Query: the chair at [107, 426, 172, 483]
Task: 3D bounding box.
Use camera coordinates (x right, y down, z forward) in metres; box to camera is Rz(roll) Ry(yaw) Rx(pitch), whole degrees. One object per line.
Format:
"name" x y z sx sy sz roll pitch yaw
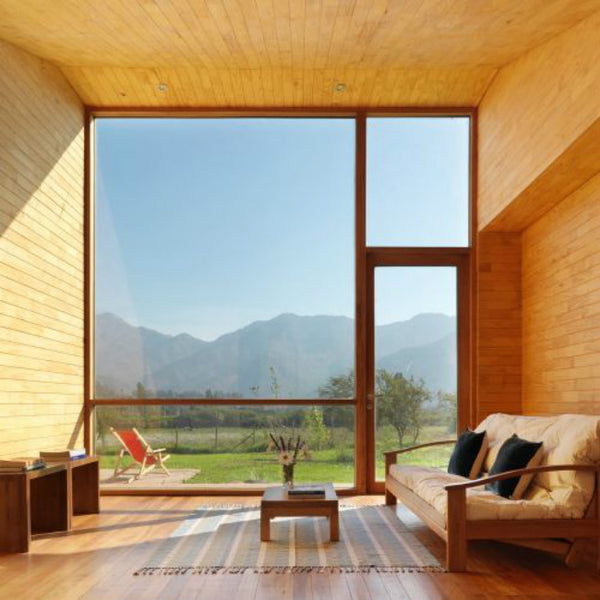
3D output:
"chair" -1.702 1.615 5.642 0.621 0.578 0.447 0 -7 -5

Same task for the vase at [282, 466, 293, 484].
"vase" -0.099 1.378 4.175 0.070 0.145 0.060 -4 -10 2

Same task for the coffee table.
"coffee table" -0.013 1.469 3.873 0.382 0.227 0.514 0 -5 1

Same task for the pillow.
"pillow" 1.333 1.082 3.513 0.165 0.405 0.405 29 -16 -18
